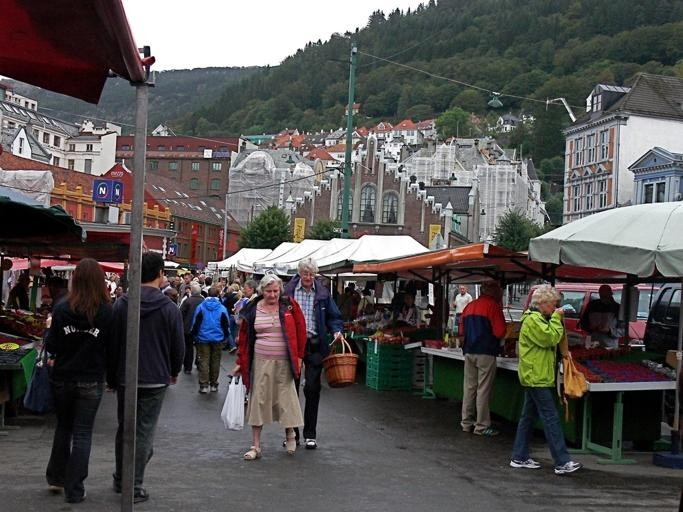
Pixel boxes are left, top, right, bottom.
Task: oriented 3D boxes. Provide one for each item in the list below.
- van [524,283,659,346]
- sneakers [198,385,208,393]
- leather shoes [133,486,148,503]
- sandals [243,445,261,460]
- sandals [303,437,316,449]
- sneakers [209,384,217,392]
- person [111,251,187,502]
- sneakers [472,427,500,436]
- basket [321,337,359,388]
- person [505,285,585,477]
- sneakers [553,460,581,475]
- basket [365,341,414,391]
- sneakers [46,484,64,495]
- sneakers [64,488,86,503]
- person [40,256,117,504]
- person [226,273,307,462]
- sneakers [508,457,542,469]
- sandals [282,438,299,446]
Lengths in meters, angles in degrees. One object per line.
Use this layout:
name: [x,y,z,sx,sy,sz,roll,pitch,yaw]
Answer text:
van: [4.479,1.036,14.057,2.223,1.315,1.381,-6,-7,39]
sneakers: [-2.638,2.574,15.592,0.147,0.152,0.111,0,-4,-9]
leather shoes: [-2.050,2.440,8.261,0.068,0.138,0.195,8,8,41]
sandals: [-1.115,2.466,10.171,0.220,0.147,0.328,1,-3,-7]
sandals: [-0.417,2.492,10.770,0.118,0.095,0.203,1,-5,-6]
sneakers: [-2.494,2.590,15.826,0.094,0.137,0.151,1,-7,-5]
person: [-1.994,1.218,8.344,0.745,2.568,0.715,1,-4,-16]
sneakers: [2.171,2.624,12.120,0.364,0.168,0.137,-2,3,-3]
basket: [0.015,1.445,11.233,0.659,0.902,0.703,0,-15,2]
person: [2.509,1.510,10.083,0.618,2.316,0.841,2,-4,-24]
sneakers: [2.724,2.566,9.800,0.350,0.161,0.132,-2,-7,0]
basket: [0.963,2.260,16.759,1.129,1.182,0.882,1,-3,-5]
sneakers: [-2.946,2.414,8.344,0.092,0.068,0.127,-4,12,-4]
sneakers: [-2.627,2.403,8.115,0.150,0.111,0.285,-1,-3,22]
person: [-2.691,1.242,8.244,0.658,2.442,0.354,0,-4,11]
person: [-0.894,1.391,10.263,0.879,2.306,0.345,1,-4,-5]
sneakers: [2.315,2.609,10.188,0.376,0.192,0.153,-1,4,2]
sandals: [-0.710,2.511,10.862,0.105,0.137,0.330,-4,-13,15]
